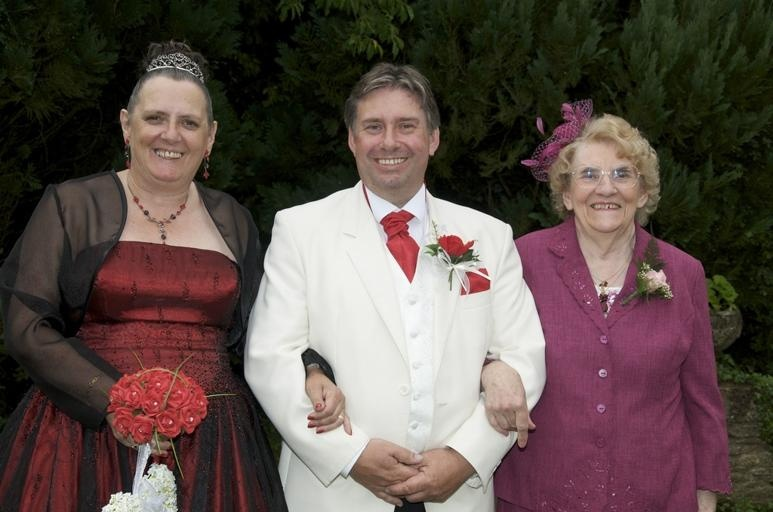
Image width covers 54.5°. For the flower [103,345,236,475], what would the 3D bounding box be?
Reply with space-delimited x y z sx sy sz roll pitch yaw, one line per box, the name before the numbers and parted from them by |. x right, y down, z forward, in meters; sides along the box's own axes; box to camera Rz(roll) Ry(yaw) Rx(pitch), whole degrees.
flower | -1.293 0.863 4.444 0.553 0.551 0.509 9 -20 -10

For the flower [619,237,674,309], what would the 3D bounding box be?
flower | 1.690 0.125 4.917 0.386 0.197 0.303 -31 -36 9

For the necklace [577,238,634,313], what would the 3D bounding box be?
necklace | 1.481 0.063 4.989 0.280 0.554 0.080 3 -30 3

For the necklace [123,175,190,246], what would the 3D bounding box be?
necklace | -1.473 -0.246 4.818 0.387 0.375 0.155 3 -28 -31

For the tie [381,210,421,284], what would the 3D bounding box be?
tie | 0.061 -0.116 4.944 0.198 0.058 0.468 -9 -36 -10

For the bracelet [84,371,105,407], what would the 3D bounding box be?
bracelet | -1.668 0.765 4.335 0.126 0.139 0.147 -8 -19 -40

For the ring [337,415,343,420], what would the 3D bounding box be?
ring | -0.282 0.963 4.547 0.027 0.029 0.028 -6 -8 -1
